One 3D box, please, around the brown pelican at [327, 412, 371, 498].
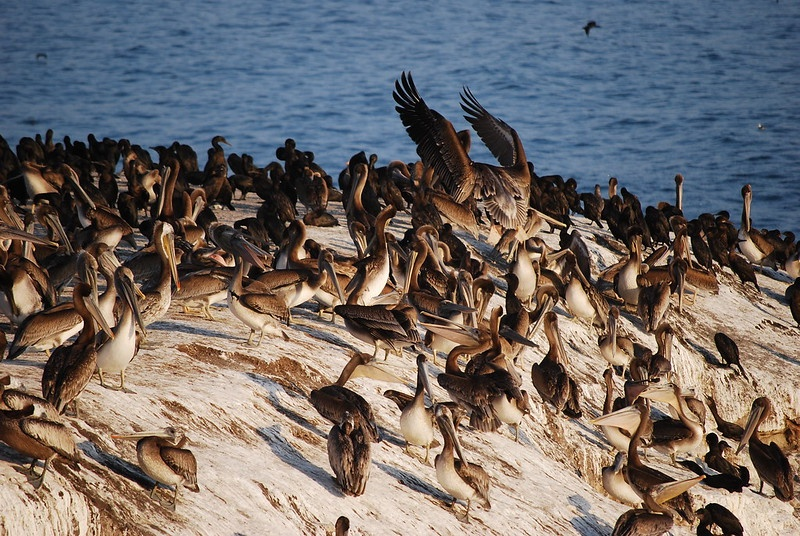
[{"bbox_3d":[-1.173,4.612,34.023,1.010,1.881,1.253,-1,-5,11],"label":"brown pelican"}]
